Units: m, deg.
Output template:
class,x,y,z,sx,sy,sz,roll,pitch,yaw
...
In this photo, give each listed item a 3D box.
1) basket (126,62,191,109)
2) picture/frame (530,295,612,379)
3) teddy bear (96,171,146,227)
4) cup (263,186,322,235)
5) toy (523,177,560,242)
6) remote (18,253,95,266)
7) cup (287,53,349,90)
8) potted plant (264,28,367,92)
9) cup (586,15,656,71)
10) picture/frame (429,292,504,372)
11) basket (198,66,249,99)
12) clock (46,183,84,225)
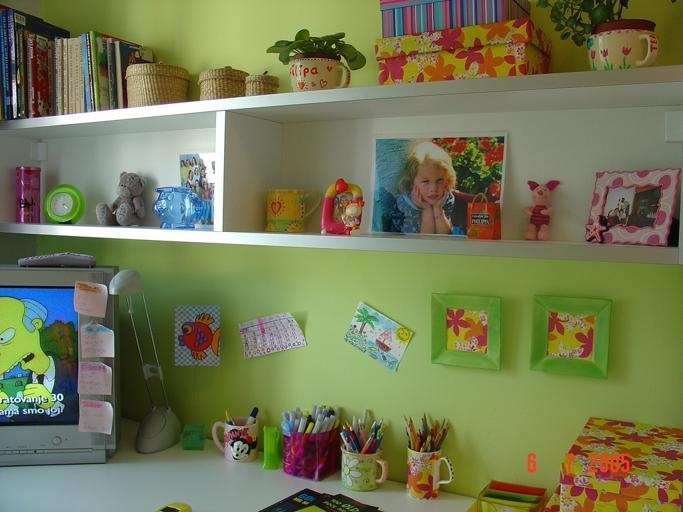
class,x,y,z,sx,sy,sz,roll,pitch,yaw
basket,-0.629,-0.552,1.862,0.171,0.115,0.176,-1,5,-15
picture/frame,0.637,0.216,1.510,0.207,0.239,0.021,5,3,27
teddy bear,-0.791,-0.207,2.044,0.179,0.252,0.192,3,4,39
cup,-0.160,-0.147,1.713,0.176,0.130,0.114,-2,1,-37
toy,0.540,-0.125,1.482,0.083,0.156,0.085,1,10,22
remote,-0.969,0.015,1.892,0.203,0.048,0.109,2,-1,-4
cup,-0.056,-0.496,1.536,0.120,0.068,0.101,3,5,22
potted plant,-0.081,-0.502,1.576,0.205,0.129,0.211,1,5,27
cup,0.637,-0.474,1.286,0.113,0.105,0.139,-3,6,-40
picture/frame,0.376,0.217,1.622,0.218,0.236,0.023,2,3,26
basket,-0.375,-0.539,1.726,0.129,0.088,0.136,0,3,-5
clock,-1.059,-0.195,2.114,0.152,0.166,0.050,-2,-5,8
